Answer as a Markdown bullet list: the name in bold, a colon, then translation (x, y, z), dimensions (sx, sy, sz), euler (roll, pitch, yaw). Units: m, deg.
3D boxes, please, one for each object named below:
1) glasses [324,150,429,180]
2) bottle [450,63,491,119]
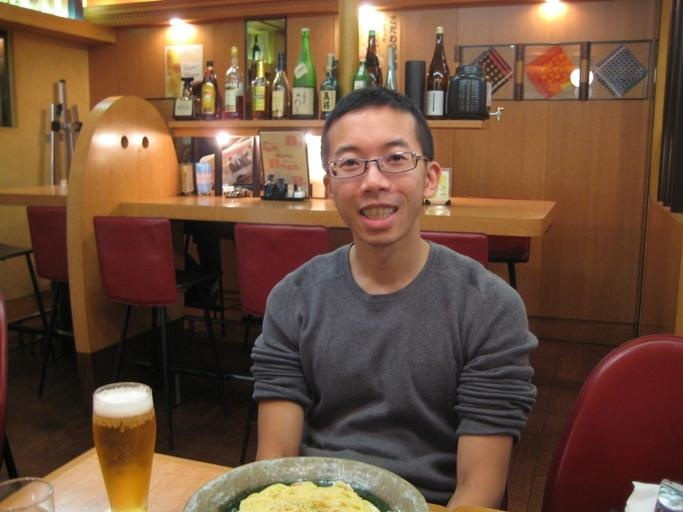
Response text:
- **glasses**: translation (0.074, -0.211, 1.301), dimensions (0.219, 0.063, 0.054), euler (0, 12, 2)
- **bottle**: translation (0.653, -0.845, 2.917), dimensions (0.239, 0.338, 0.234), euler (-2, 9, 0)
